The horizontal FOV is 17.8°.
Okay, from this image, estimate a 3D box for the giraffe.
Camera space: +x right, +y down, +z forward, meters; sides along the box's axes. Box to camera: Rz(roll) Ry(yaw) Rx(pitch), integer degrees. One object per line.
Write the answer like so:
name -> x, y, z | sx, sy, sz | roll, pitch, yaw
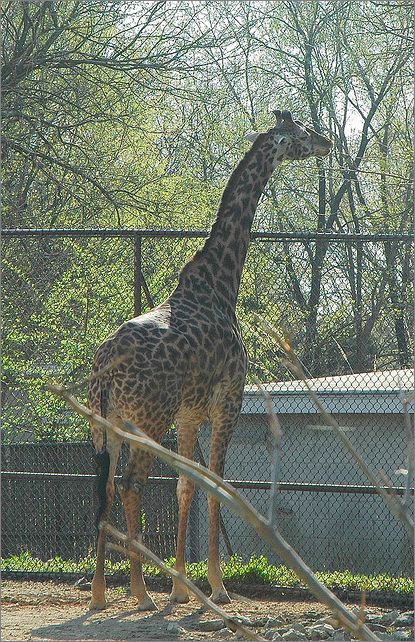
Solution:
giraffe -> -0.139, 0.197, 9.716 | 0.879, 3.707, 1.995 | 4, 0, 23
